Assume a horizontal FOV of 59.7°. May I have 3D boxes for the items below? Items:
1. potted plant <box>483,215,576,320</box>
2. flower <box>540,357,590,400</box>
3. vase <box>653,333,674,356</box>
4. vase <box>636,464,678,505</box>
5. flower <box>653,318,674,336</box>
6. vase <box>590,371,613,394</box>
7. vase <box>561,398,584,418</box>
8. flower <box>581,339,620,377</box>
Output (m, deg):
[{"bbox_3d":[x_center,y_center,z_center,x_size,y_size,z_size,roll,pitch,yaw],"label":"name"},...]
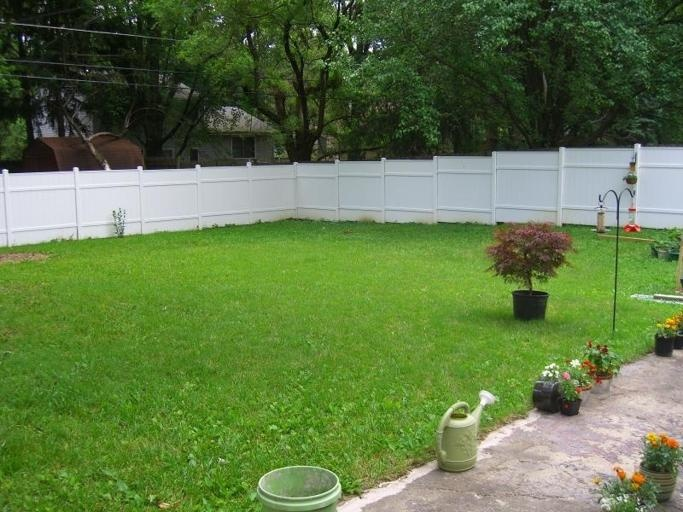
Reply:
[{"bbox_3d":[3.755,0.332,12.003,1.480,1.942,0.720,2,6,16],"label":"potted plant"},{"bbox_3d":[3.270,1.770,8.634,0.522,0.431,0.587,0,4,32],"label":"flower"},{"bbox_3d":[5.676,1.572,10.548,0.311,0.357,0.333,-2,-1,-7],"label":"vase"},{"bbox_3d":[3.505,2.506,6.596,0.317,0.304,0.379,-1,-4,-3],"label":"vase"},{"bbox_3d":[5.714,1.286,10.556,0.304,0.236,0.313,-3,3,-13],"label":"flower"},{"bbox_3d":[3.945,1.928,9.057,0.270,0.225,0.280,-1,0,-23],"label":"vase"},{"bbox_3d":[3.255,2.120,8.363,0.219,0.212,0.271,-3,5,-25],"label":"vase"},{"bbox_3d":[4.020,1.600,9.334,0.510,0.590,0.542,-5,1,-25],"label":"flower"}]
